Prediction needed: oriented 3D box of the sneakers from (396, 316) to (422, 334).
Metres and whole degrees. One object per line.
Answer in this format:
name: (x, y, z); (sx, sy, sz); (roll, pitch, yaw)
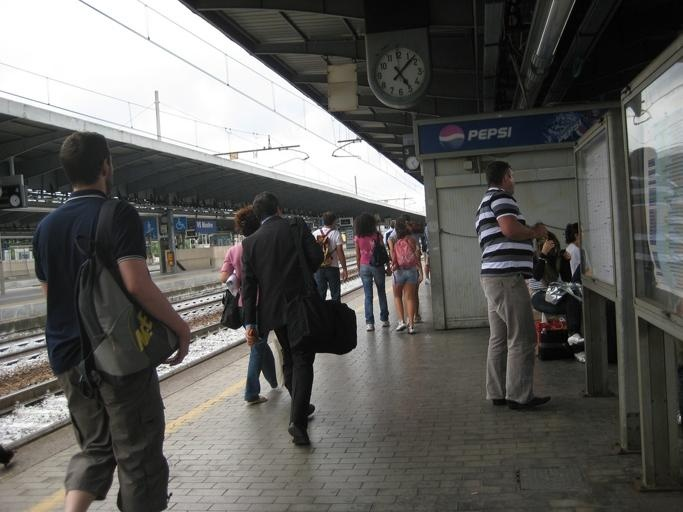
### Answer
sneakers: (1.261, 1.351, 9.180); (0.172, 0.243, 0.537); (3, -1, -4)

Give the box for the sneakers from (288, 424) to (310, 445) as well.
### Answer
sneakers: (-0.377, 1.647, 4.290); (0.117, 0.274, 0.124); (1, 45, 11)

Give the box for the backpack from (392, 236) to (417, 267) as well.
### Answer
backpack: (1.200, -0.056, 8.873); (0.436, 0.470, 0.246); (-4, 1, 6)

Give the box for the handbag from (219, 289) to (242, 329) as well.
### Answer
handbag: (-1.225, 0.604, 5.271); (0.209, 0.446, 0.489); (-4, 2, -16)

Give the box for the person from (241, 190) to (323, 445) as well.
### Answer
person: (-0.548, 0.543, 4.473); (0.820, 2.204, 0.440); (-3, 2, 37)

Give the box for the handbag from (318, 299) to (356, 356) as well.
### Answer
handbag: (-0.036, 0.657, 4.370); (0.383, 0.445, 0.226); (-4, 1, -8)

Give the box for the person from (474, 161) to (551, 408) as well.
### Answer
person: (1.692, 0.292, 4.749); (0.496, 1.804, 0.598); (-4, 1, -20)

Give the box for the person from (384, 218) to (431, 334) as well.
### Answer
person: (1.309, 0.360, 9.442); (0.568, 1.799, 1.377); (-4, 2, 6)

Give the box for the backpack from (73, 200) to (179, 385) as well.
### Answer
backpack: (-1.185, 0.189, 2.575); (0.533, 1.077, 0.209); (-4, 1, -16)

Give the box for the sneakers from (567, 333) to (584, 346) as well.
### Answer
sneakers: (3.104, 1.107, 6.340); (0.094, 0.138, 0.291); (4, -14, -12)

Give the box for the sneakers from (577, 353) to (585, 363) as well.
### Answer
sneakers: (3.162, 1.335, 6.265); (0.071, 0.084, 0.250); (-4, 2, 12)
